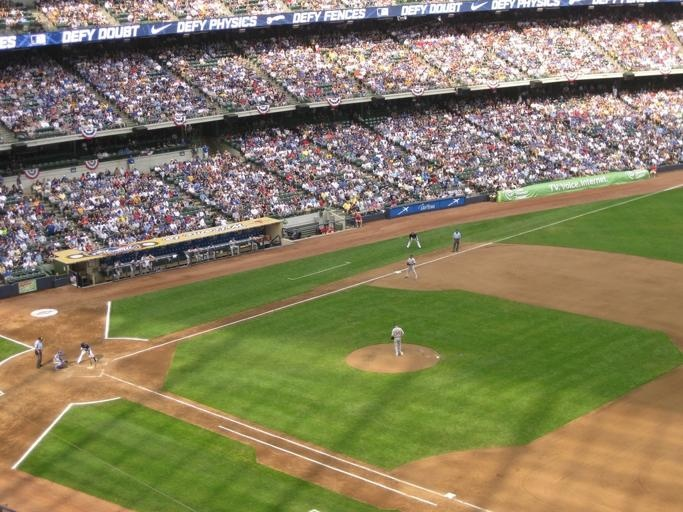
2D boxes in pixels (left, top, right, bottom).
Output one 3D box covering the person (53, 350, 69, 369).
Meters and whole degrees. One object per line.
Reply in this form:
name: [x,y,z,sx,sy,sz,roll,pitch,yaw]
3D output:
person: [-16.975,6.054,52.819,0.825,1.213,1.460,-9,24,-17]
